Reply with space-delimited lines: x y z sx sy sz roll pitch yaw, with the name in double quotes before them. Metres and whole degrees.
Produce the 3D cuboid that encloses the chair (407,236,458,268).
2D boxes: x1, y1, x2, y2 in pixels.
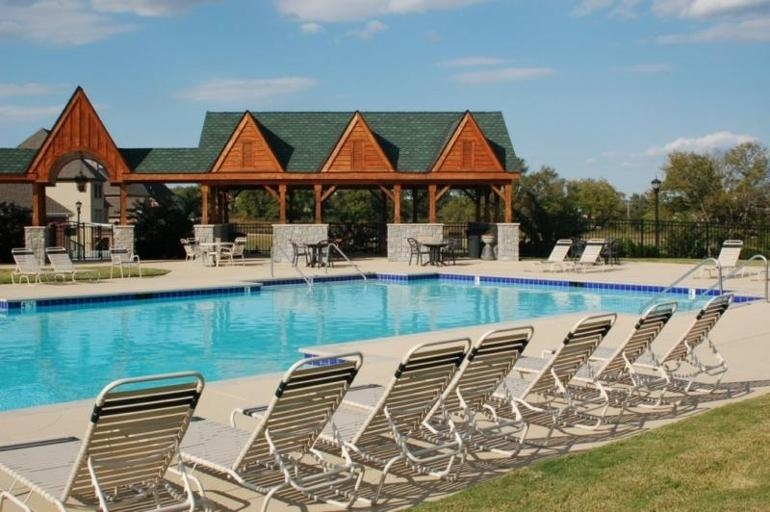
"chair" 1.661 -0.088 30.281 1.311 0.652 1.296 -1 1 -35
